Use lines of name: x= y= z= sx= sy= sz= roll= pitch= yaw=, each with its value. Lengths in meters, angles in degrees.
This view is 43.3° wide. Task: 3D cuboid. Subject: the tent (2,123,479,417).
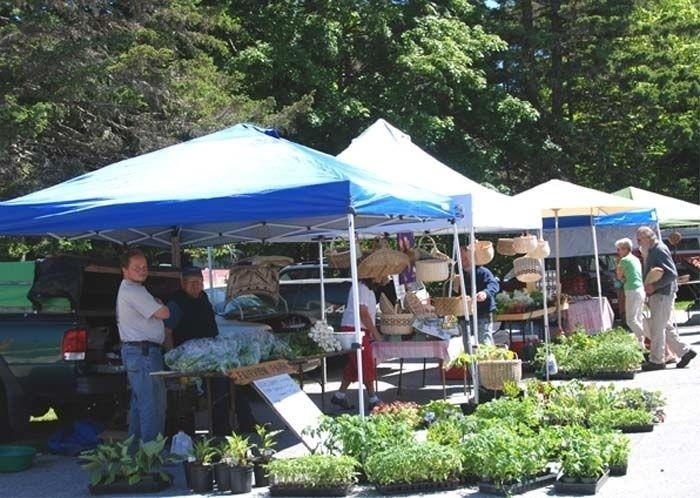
tent: x=-1.378 y=-0.429 z=13.630 sx=4.674 sy=3.210 sz=4.736 roll=0 pitch=5 yaw=30

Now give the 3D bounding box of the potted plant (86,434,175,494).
potted plant: x=-3.102 y=3.009 z=12.287 sx=0.903 sy=0.448 sz=0.914 roll=0 pitch=-1 yaw=2

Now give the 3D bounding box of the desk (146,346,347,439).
desk: x=-0.910 y=1.957 z=13.203 sx=2.532 sy=0.633 sz=1.128 roll=-7 pitch=-19 yaw=-33

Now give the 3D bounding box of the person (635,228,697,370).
person: x=6.036 y=0.912 z=16.943 sx=0.822 sy=2.785 sz=1.086 roll=-5 pitch=-7 yaw=32

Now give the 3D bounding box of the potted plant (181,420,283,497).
potted plant: x=-1.682 y=2.941 z=12.599 sx=1.261 sy=0.877 sz=1.148 roll=-1 pitch=-6 yaw=-2

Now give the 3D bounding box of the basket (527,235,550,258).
basket: x=3.559 y=-0.034 z=16.602 sx=0.384 sy=0.384 sz=0.383 roll=-7 pitch=8 yaw=-33

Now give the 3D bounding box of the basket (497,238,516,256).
basket: x=3.091 y=-0.039 z=17.047 sx=0.387 sy=0.288 sz=0.362 roll=-1 pitch=4 yaw=-36

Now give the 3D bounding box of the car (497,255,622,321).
car: x=5.233 y=0.832 z=21.003 sx=2.900 sy=1.676 sz=1.977 roll=0 pitch=-3 yaw=12

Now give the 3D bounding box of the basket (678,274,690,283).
basket: x=8.579 y=0.761 z=22.550 sx=0.272 sy=0.064 sz=0.255 roll=0 pitch=-14 yaw=-45

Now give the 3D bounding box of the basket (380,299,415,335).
basket: x=0.834 y=1.203 z=15.165 sx=0.527 sy=0.535 sz=0.501 roll=0 pitch=-2 yaw=2

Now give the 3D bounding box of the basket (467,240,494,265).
basket: x=2.449 y=0.067 z=16.220 sx=0.489 sy=0.356 sz=0.490 roll=-5 pitch=7 yaw=-1

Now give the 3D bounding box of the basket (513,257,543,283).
basket: x=3.349 y=0.383 z=16.696 sx=0.469 sy=0.344 sz=0.472 roll=0 pitch=-15 yaw=3

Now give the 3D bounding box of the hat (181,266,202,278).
hat: x=-2.490 y=0.360 z=13.752 sx=0.207 sy=0.115 sz=0.207 roll=-1 pitch=3 yaw=-20

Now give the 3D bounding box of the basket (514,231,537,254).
basket: x=3.284 y=-0.120 z=16.562 sx=0.349 sy=0.261 sz=0.349 roll=-10 pitch=3 yaw=-5

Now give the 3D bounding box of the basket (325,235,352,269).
basket: x=-0.189 y=0.127 z=16.942 sx=0.607 sy=0.610 sz=0.491 roll=2 pitch=6 yaw=39

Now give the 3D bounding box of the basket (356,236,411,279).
basket: x=0.563 y=0.178 z=14.904 sx=0.894 sy=0.584 sz=0.442 roll=-6 pitch=11 yaw=-17

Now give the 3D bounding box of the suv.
suv: x=-1.542 y=1.072 z=17.803 sx=2.387 sy=1.317 sz=1.399 roll=6 pitch=3 yaw=22

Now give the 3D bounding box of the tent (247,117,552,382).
tent: x=1.022 y=-0.166 z=16.178 sx=4.400 sy=2.215 sz=4.462 roll=-3 pitch=-1 yaw=19

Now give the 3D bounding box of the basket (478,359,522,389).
basket: x=2.377 y=1.951 z=14.087 sx=0.523 sy=0.327 sz=0.526 roll=0 pitch=-7 yaw=-1

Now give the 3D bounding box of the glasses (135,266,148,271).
glasses: x=-3.071 y=0.279 z=12.970 sx=0.105 sy=0.080 sz=0.104 roll=12 pitch=-37 yaw=-45
